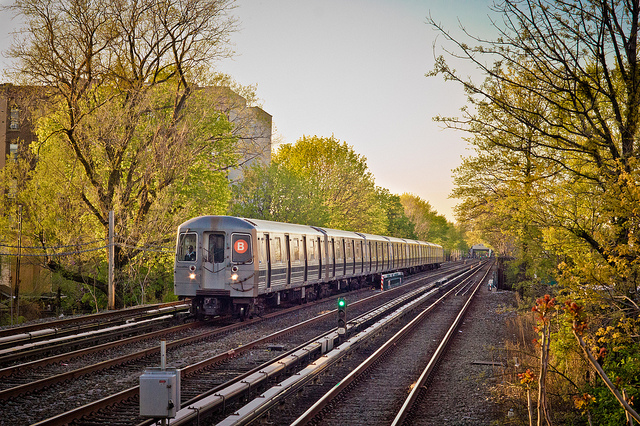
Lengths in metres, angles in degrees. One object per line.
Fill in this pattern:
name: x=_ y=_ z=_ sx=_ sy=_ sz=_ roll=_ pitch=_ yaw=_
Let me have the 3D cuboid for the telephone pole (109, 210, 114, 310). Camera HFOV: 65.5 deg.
telephone pole: x=-8.932 y=2.006 z=21.269 sx=0.259 sy=4.138 sz=0.722 roll=2 pitch=-7 yaw=-23

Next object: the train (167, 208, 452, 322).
train: x=2.099 y=2.886 z=37.317 sx=3.466 sy=4.187 sz=37.850 roll=-14 pitch=-8 yaw=19
